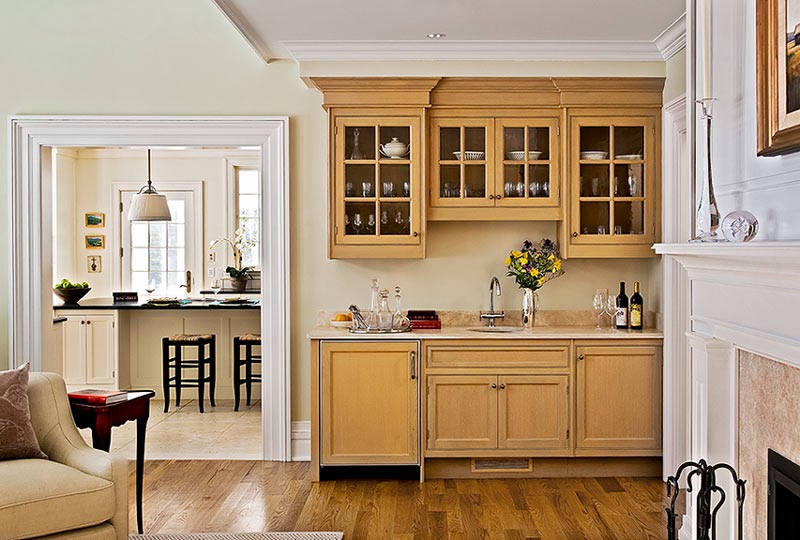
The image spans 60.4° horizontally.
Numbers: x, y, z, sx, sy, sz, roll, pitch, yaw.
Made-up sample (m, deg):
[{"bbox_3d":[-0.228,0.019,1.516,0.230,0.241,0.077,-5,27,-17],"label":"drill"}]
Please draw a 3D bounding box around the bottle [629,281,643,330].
[{"bbox_3d":[1.886,0.271,5.473,0.111,0.353,0.307,3,11,20],"label":"bottle"}]

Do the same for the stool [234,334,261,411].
[{"bbox_3d":[-1.599,1.021,7.124,0.286,0.799,0.741,-3,11,-13],"label":"stool"}]

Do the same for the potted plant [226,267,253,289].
[{"bbox_3d":[-1.875,0.094,8.006,0.285,0.187,0.273,-3,1,-13],"label":"potted plant"}]

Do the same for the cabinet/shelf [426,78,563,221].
[{"bbox_3d":[0.759,-0.967,5.394,1.168,1.087,0.399,0,-3,0],"label":"cabinet/shelf"}]

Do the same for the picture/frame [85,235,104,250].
[{"bbox_3d":[-3.644,-0.331,8.149,0.179,0.146,0.012,0,-1,-8],"label":"picture/frame"}]

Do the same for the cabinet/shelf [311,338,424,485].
[{"bbox_3d":[-0.219,1.100,5.601,1.169,1.234,0.933,0,-7,1],"label":"cabinet/shelf"}]

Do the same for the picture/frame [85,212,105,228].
[{"bbox_3d":[-3.632,-0.594,8.125,0.197,0.156,0.014,0,1,-8],"label":"picture/frame"}]

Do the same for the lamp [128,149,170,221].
[{"bbox_3d":[-2.833,-0.905,7.673,0.412,0.846,0.982,-5,11,-20],"label":"lamp"}]

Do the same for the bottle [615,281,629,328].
[{"bbox_3d":[1.766,0.280,5.462,0.110,0.344,0.219,3,11,18],"label":"bottle"}]

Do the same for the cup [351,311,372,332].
[{"bbox_3d":[-0.287,0.417,5.427,0.155,0.148,0.151,-1,-3,0],"label":"cup"}]

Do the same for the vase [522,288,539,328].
[{"bbox_3d":[1.053,0.298,5.578,0.136,0.336,0.257,1,11,11],"label":"vase"}]

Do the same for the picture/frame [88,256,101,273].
[{"bbox_3d":[-3.655,-0.069,8.171,0.218,0.245,0.018,0,7,-5],"label":"picture/frame"}]

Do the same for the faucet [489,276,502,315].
[{"bbox_3d":[0.772,0.212,5.565,0.098,0.317,0.276,1,11,8],"label":"faucet"}]

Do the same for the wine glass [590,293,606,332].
[{"bbox_3d":[1.606,0.323,5.538,0.128,0.306,0.303,2,11,15],"label":"wine glass"}]

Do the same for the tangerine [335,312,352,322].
[{"bbox_3d":[-0.456,0.380,5.506,0.072,0.049,0.086,2,3,29],"label":"tangerine"}]

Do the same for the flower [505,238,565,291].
[{"bbox_3d":[1.084,-0.034,5.595,0.456,0.373,0.441,2,-2,-28],"label":"flower"}]

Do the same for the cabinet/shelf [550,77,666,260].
[{"bbox_3d":[1.607,-0.793,5.362,0.857,1.365,0.348,1,11,11],"label":"cabinet/shelf"}]

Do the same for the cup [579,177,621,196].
[{"bbox_3d":[1.551,-0.627,5.376,0.183,0.130,0.183,0,-2,0],"label":"cup"}]
